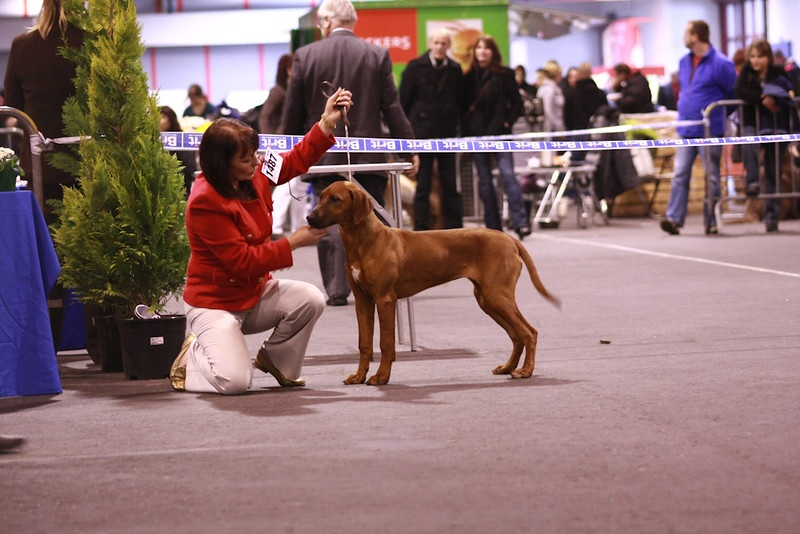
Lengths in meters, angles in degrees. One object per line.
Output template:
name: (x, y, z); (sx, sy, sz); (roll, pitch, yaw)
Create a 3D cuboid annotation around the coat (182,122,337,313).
coat: (-0.949, -0.143, 5.308); (0.593, 0.850, 0.448); (-1, 5, -16)

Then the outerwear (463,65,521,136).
outerwear: (1.156, -2.151, 11.873); (0.901, 1.058, 0.533); (3, 25, 12)

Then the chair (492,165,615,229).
chair: (2.687, -1.172, 15.176); (1.165, 0.856, 1.612); (-2, 0, -25)

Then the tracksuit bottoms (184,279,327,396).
tracksuit bottoms: (-0.905, 0.378, 5.510); (0.922, 0.659, 0.690); (4, 12, -5)

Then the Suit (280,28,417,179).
Suit: (-0.443, -1.520, 7.837); (1.096, 1.040, 0.571); (0, 22, 1)

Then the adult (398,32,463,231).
adult: (0.464, -1.591, 11.202); (0.811, 2.564, 0.711); (-8, 16, -21)

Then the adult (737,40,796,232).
adult: (4.720, -1.707, 11.859); (0.651, 2.453, 1.038); (2, 5, 23)

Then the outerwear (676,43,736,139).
outerwear: (4.015, -2.327, 12.168); (0.571, 1.320, 0.940); (-7, 15, -27)

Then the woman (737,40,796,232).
woman: (4.720, -1.707, 11.859); (0.651, 2.453, 1.037); (2, 5, 23)

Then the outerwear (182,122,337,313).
outerwear: (-0.801, -0.289, 5.940); (1.077, 1.545, 0.905); (6, 34, -8)

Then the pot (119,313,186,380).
pot: (-1.547, 0.490, 5.685); (0.371, 0.341, 0.419); (0, -2, 1)

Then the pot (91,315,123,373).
pot: (-1.868, 0.504, 5.909); (0.277, 0.381, 0.118); (2, 5, 25)
